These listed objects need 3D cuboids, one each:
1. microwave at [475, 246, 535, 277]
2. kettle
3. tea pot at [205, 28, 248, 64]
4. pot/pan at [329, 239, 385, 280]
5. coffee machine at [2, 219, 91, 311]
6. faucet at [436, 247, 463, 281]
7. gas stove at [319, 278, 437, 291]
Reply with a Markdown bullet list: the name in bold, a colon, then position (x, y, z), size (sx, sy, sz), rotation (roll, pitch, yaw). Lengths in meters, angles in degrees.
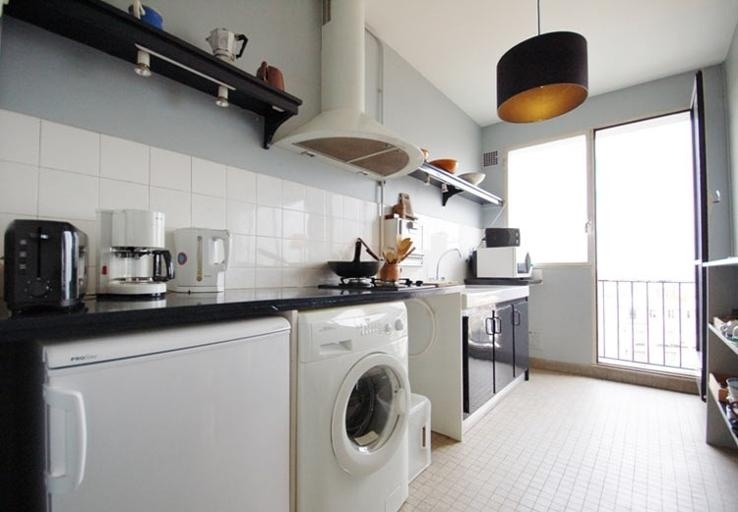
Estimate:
- **microwave**: position (1.299, 0.059, 5.045), size (0.303, 0.220, 0.421), rotation (-1, -1, 34)
- **kettle**: position (-0.965, 0.020, 2.965), size (0.347, 0.359, 0.150), rotation (0, 1, -13)
- **tea pot**: position (-0.827, -1.220, 3.050), size (0.206, 0.242, 0.131), rotation (3, 3, -31)
- **pot/pan**: position (-0.061, 0.016, 3.696), size (0.340, 0.298, 0.508), rotation (0, 1, 12)
- **coffee machine**: position (-1.462, 0.043, 2.334), size (0.277, 0.408, 0.134), rotation (-1, 1, -38)
- **faucet**: position (0.774, 0.055, 4.986), size (0.075, 0.291, 0.599), rotation (0, 1, 27)
- **gas stove**: position (0.076, 0.179, 3.479), size (0.822, 0.049, 0.704), rotation (0, 0, -17)
